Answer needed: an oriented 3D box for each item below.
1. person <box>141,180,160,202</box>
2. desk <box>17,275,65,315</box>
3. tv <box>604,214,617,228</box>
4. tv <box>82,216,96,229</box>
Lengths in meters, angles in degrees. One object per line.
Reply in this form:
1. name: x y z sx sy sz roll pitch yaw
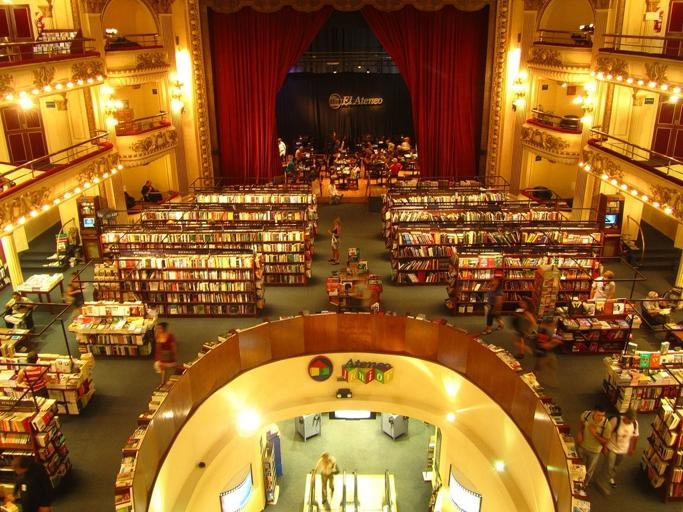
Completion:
1. person: -7.749 -2.620 20.261 0.497 0.690 0.952 -2 -61 -3
2. desk: -8.269 1.084 13.752 0.753 0.784 0.670 4 -68 6
3. tv: 8.817 -1.166 16.507 0.393 0.219 0.396 -1 -71 4
4. tv: -8.380 -1.118 16.787 0.548 0.290 0.486 0 -81 -3
